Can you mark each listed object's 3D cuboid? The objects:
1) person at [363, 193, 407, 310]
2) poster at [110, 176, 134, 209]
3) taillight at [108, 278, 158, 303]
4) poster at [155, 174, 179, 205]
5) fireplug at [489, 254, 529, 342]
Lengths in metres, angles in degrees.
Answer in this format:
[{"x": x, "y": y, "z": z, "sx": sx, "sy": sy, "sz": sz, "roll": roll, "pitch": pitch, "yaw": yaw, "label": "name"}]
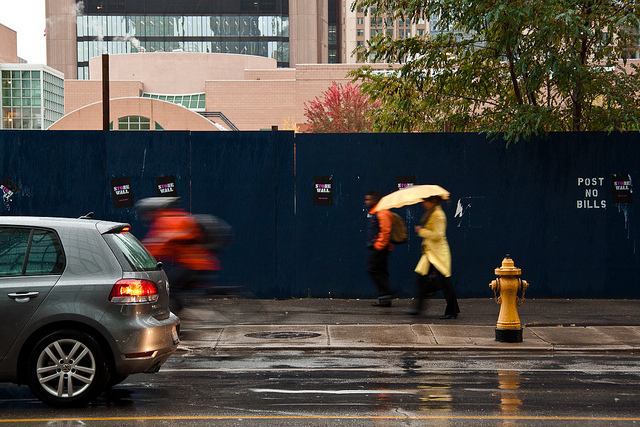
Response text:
[{"x": 1.511, "y": 0.879, "z": 23.428, "sx": 1.191, "sy": 2.260, "sz": 0.910, "roll": 0, "pitch": 0, "yaw": -9, "label": "person"}, {"x": -4.547, "y": -0.444, "z": 24.155, "sx": 0.528, "sy": 0.852, "sz": 0.091, "roll": -17, "pitch": 3, "yaw": -3, "label": "poster"}, {"x": -3.013, "y": 1.243, "z": 17.136, "sx": 0.630, "sy": 0.208, "sz": 0.341, "roll": -2, "pitch": -1, "yaw": 17, "label": "taillight"}, {"x": -3.417, "y": -0.505, "z": 23.391, "sx": 0.578, "sy": 0.775, "sz": 0.081, "roll": -14, "pitch": 0, "yaw": -2, "label": "poster"}, {"x": 3.585, "y": 1.617, "z": 20.255, "sx": 0.681, "sy": 1.584, "sz": 0.600, "roll": 2, "pitch": 11, "yaw": 10, "label": "fireplug"}]
